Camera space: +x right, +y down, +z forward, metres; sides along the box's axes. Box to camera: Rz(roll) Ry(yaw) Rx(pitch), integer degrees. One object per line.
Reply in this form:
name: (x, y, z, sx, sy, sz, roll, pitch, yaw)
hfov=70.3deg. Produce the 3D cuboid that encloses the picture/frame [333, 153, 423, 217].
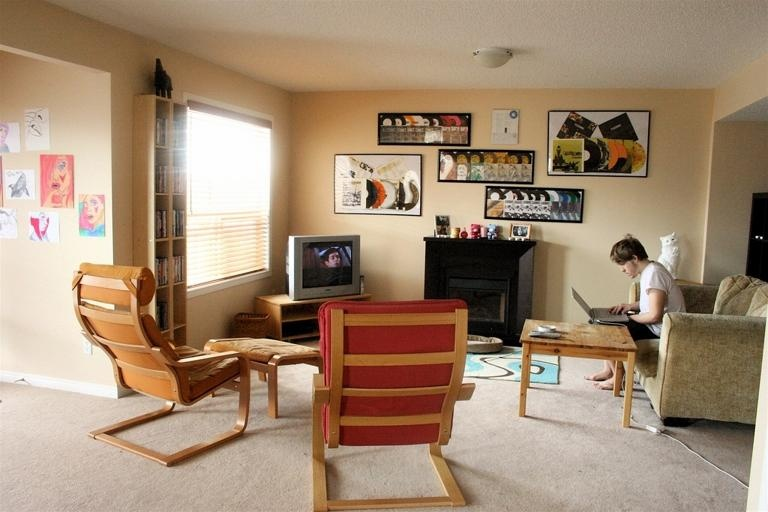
picture/frame: (-0.034, -0.916, 6.893, 0.885, 0.554, 0.016, 1, 8, 12)

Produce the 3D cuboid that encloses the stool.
stool: (-0.976, 0.870, 4.747, 0.673, 0.449, 0.990, 4, -4, -44)

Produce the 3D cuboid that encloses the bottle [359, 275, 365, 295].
bottle: (-0.281, 0.365, 6.722, 0.141, 0.227, 0.251, 0, 0, -2)

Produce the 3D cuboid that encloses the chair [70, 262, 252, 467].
chair: (-1.734, 0.764, 4.186, 1.241, 1.417, 0.684, 2, 8, 12)

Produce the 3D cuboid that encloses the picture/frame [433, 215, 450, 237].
picture/frame: (0.714, -0.378, 6.760, 0.303, 0.363, 0.041, 0, -7, 1)

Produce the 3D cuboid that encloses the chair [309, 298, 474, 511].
chair: (0.056, 0.967, 3.694, 1.093, 1.398, 0.465, 0, 8, -8)

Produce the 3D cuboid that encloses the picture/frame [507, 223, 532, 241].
picture/frame: (1.629, -0.283, 6.628, 0.361, 0.275, 0.189, 0, -5, 8)

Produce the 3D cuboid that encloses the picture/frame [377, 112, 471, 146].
picture/frame: (0.487, -1.566, 6.748, 1.140, 0.393, 0.066, 2, 8, 7)
